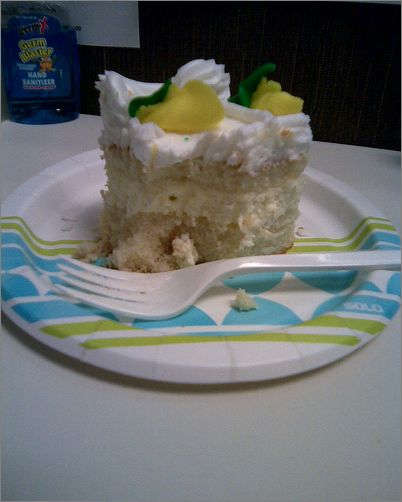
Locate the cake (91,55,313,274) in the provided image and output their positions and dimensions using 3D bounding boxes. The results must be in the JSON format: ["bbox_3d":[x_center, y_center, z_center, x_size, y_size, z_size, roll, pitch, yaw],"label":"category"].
[{"bbox_3d":[-0.010,-0.124,0.656,0.336,0.258,0.257,4,40,2],"label":"cake"}]
